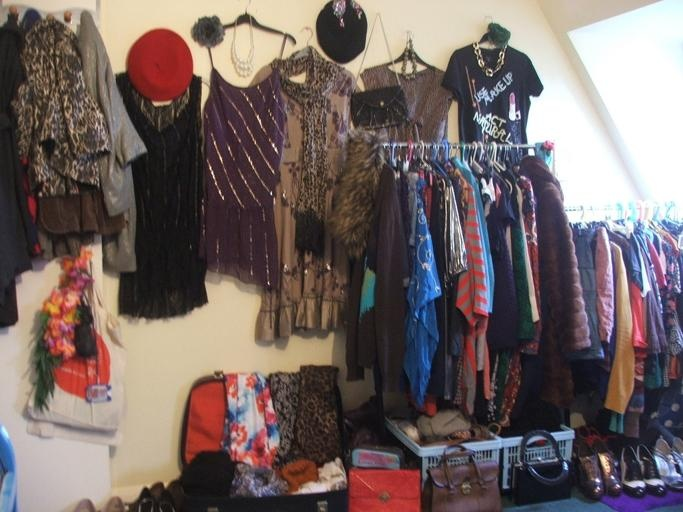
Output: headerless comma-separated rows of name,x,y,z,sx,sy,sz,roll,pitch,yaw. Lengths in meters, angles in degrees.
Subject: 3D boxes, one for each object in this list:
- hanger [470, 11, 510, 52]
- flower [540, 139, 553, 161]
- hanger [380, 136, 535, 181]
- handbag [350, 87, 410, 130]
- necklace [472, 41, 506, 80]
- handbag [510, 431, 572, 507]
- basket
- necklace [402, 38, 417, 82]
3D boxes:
hanger,0.938,-1.338,3.819,0.137,0.096,0.197,-7,-28,-6
flower,1.228,-0.631,3.728,0.072,0.103,0.044,-3,-7,-10
hanger,0.643,-0.561,3.633,0.763,0.337,0.095,-5,28,-6
handbag,0.212,-0.871,3.682,0.225,0.214,0.063,-4,-2,-5
necklace,0.893,-1.174,3.810,0.140,0.261,0.057,3,-2,-8
handbag,1.098,1.203,3.493,0.291,0.435,0.210,0,-3,-12
basket,0.816,1.088,3.531,0.633,0.263,0.504,0,-1,-16
necklace,0.407,-1.188,3.763,0.098,0.265,0.029,-4,-7,-4
